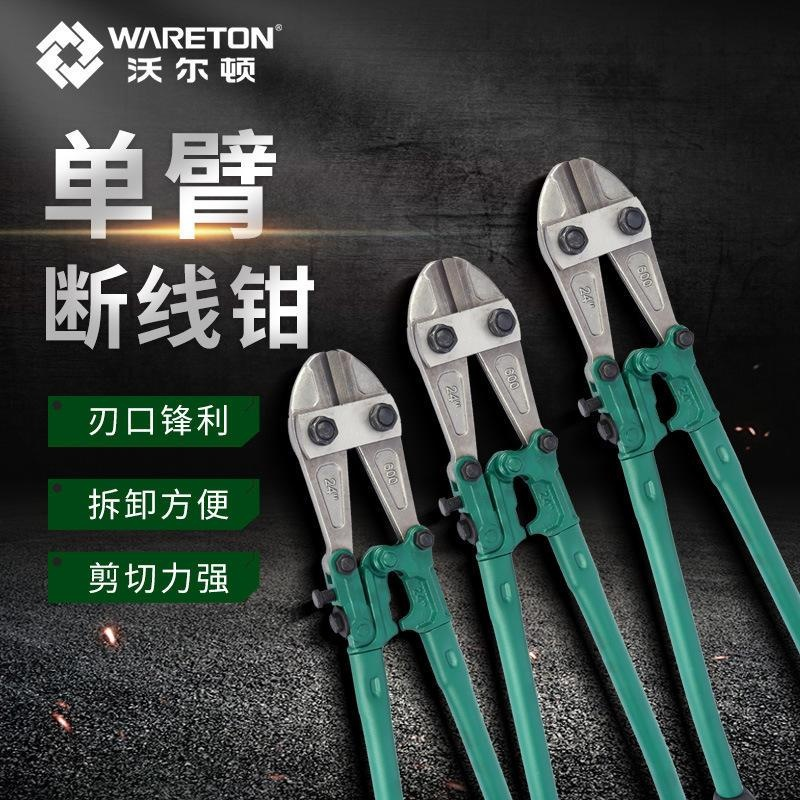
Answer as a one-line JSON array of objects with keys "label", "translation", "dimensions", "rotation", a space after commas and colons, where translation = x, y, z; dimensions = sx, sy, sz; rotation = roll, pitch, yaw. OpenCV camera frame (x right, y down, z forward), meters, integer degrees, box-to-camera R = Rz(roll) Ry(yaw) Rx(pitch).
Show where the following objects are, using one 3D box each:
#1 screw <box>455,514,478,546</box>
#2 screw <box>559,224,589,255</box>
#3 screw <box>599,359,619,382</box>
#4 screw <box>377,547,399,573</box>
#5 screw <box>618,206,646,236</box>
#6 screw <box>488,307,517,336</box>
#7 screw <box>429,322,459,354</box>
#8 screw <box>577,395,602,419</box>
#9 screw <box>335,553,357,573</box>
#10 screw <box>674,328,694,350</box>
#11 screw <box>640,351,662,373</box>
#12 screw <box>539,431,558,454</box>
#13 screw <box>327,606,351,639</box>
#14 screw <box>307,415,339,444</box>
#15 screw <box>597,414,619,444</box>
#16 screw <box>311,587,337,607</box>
[{"label": "screw", "translation": [0.082, 0.159, 0.998], "dimensions": [0.010, 0.033, 0.038], "rotation": [-23, -6, -19]}, {"label": "screw", "translation": [0.219, -0.202, 1.034], "dimensions": [0.036, 0.032, 0.024], "rotation": [1, 38, 6]}, {"label": "screw", "translation": [0.264, -0.037, 1.030], "dimensions": [0.031, 0.025, 0.007], "rotation": [0, 3, -23]}, {"label": "screw", "translation": [-0.014, 0.191, 0.976], "dimensions": [0.029, 0.027, 0.024], "rotation": [-8, 38, -6]}, {"label": "screw", "translation": [0.296, -0.229, 1.047], "dimensions": [0.044, 0.033, 0.009], "rotation": [-6, -1, -20]}, {"label": "screw", "translation": [0.129, -0.097, 1.018], "dimensions": [0.013, 0.036, 0.037], "rotation": [-10, 51, 56]}, {"label": "screw", "translation": [0.052, -0.076, 1.000], "dimensions": [0.038, 0.034, 0.012], "rotation": [-31, 13, -17]}, {"label": "screw", "translation": [0.244, 0.008, 1.042], "dimensions": [0.035, 0.024, 0.028], "rotation": [-15, -6, -12]}, {"label": "screw", "translation": [-0.065, 0.194, 0.966], "dimensions": [0.024, 0.019, 0.019], "rotation": [-31, 45, -32]}, {"label": "screw", "translation": [0.364, -0.079, 1.044], "dimensions": [0.031, 0.025, 0.009], "rotation": [-2, 0, -16]}, {"label": "screw", "translation": [0.319, -0.048, 1.037], "dimensions": [0.024, 0.028, 0.007], "rotation": [-1, -11, -6]}, {"label": "screw", "translation": [0.184, 0.054, 1.013], "dimensions": [0.029, 0.024, 0.009], "rotation": [-3, 2, -21]}, {"label": "screw", "translation": [-0.072, 0.266, 0.971], "dimensions": [0.018, 0.033, 0.035], "rotation": [-17, 39, -15]}, {"label": "screw", "translation": [-0.092, 0.037, 0.977], "dimensions": [0.036, 0.029, 0.024], "rotation": [-17, 40, -18]}, {"label": "screw", "translation": [0.267, 0.035, 1.043], "dimensions": [0.030, 0.029, 0.029], "rotation": [22, 37, 40]}, {"label": "screw", "translation": [-0.090, 0.237, 0.978], "dimensions": [0.028, 0.031, 0.020], "rotation": [-6, 38, -3]}]
